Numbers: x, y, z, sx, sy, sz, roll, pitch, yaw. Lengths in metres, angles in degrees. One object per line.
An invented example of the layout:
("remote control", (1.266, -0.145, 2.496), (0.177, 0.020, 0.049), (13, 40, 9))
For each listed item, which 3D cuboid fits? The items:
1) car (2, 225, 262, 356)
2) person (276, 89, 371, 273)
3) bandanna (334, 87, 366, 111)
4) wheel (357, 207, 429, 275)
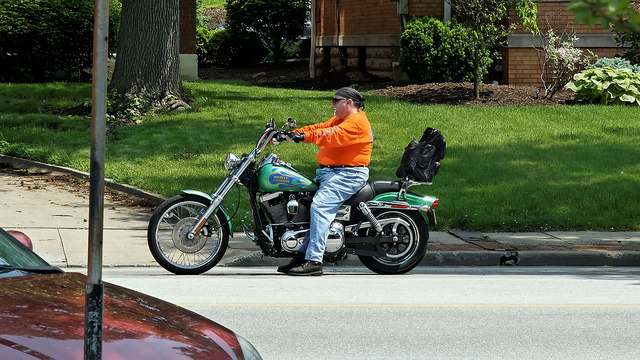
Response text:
("car", (-3.617, 1.914, 16.073), (4.001, 1.677, 1.628), (4, 7, 10))
("person", (0.222, 0.023, 20.521), (1.647, 3.749, 0.624), (-1, 8, -28))
("bandanna", (0.634, -1.698, 20.740), (0.584, 0.399, 0.427), (2, 7, -1))
("wheel", (1.491, 1.236, 20.646), (1.603, 1.450, 0.301), (-2, 3, 0))
